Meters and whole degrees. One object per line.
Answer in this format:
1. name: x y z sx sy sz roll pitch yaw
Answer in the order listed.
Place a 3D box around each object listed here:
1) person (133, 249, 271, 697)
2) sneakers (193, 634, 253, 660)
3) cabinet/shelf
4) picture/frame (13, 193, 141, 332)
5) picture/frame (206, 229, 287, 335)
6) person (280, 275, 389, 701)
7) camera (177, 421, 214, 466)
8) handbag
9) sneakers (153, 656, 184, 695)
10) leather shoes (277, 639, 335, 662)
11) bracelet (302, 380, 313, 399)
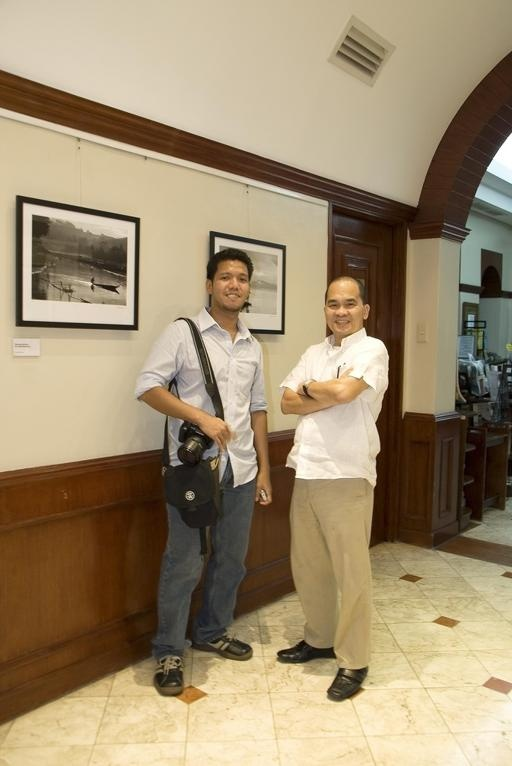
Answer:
1. person: -0.182 0.309 2.028 0.416 1.640 0.730 1 -3 12
2. sneakers: -0.142 1.092 2.216 0.234 0.105 0.091 -1 -4 20
3. cabinet/shelf: 2.008 0.789 4.574 0.270 0.824 0.782 0 2 30
4. picture/frame: -0.644 -0.421 1.813 0.021 0.464 0.518 2 1 36
5. picture/frame: -0.052 -0.461 2.346 0.024 0.645 0.562 9 7 33
6. person: 0.290 0.377 2.010 0.345 1.544 0.482 2 -3 -26
7. camera: -0.202 0.193 1.728 0.108 0.099 0.122 28 28 -9
8. handbag: -0.216 0.368 1.778 0.174 0.236 0.124 -9 8 4
9. sneakers: -0.317 1.059 1.874 0.103 0.102 0.108 2 -3 -11
10. leather shoes: 0.199 1.122 2.205 0.246 0.111 0.095 5 -6 -8
11. bracelet: 0.184 0.028 1.929 0.051 0.062 0.036 12 -7 -30
